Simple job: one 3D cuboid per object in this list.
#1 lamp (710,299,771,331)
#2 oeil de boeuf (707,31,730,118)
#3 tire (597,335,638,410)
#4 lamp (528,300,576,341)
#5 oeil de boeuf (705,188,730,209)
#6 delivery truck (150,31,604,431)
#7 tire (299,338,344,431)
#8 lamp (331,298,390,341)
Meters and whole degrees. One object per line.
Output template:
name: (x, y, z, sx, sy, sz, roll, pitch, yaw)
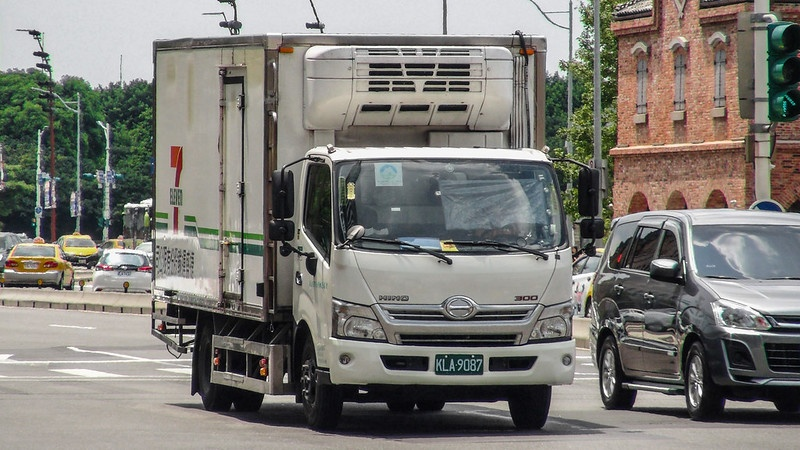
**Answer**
lamp: (5.805, 1.511, 22.496, 1.195, 0.536, 0.862, 5, 3, 33)
oeil de boeuf: (12.434, -5.874, 50.973, 0.465, 2.580, 1.058, -4, 1, -16)
tire: (4.091, 2.725, 24.355, 0.431, 1.358, 1.335, 3, 3, -12)
lamp: (2.511, 1.541, 21.282, 0.610, 0.423, 0.649, -2, 0, 4)
oeil de boeuf: (12.540, -1.052, 51.442, 1.158, 1.157, 0.609, 0, 0, -9)
delivery truck: (-0.612, -0.006, 22.566, 7.602, 5.965, 3.358, -3, 1, 32)
tire: (-1.276, 2.586, 21.576, 0.628, 1.814, 1.570, -1, 2, -9)
lamp: (-0.628, 1.522, 21.033, 0.758, 0.284, 0.584, 4, 2, 6)
